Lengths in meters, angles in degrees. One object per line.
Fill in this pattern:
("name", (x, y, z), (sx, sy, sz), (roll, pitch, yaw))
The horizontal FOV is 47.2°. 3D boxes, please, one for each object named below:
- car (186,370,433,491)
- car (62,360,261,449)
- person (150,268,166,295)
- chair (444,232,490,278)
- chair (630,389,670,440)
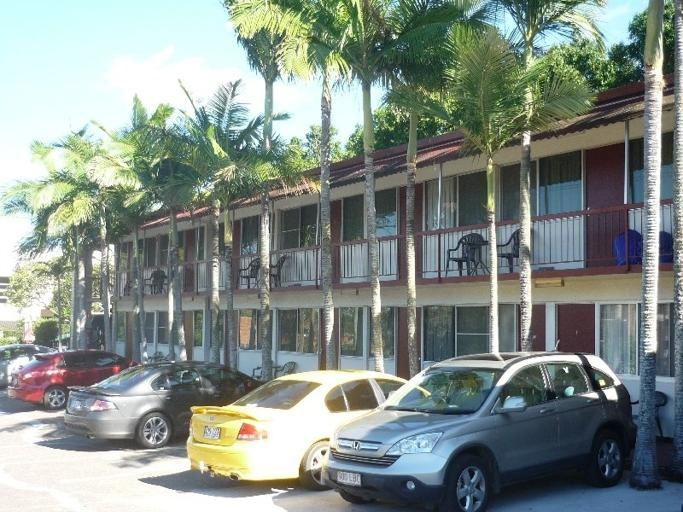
("car", (-1.065, 2.983, 13.783), (3.992, 1.340, 1.817), (0, -3, -43))
("car", (-4.096, 3.098, 17.777), (3.846, 1.279, 1.743), (0, -2, -40))
("person", (-7.746, 1.046, 33.222), (0.972, 1.064, 0.270), (-10, -12, 43))
("chair", (3.220, -0.026, 20.267), (0.975, 1.483, 1.001), (-2, -5, 38))
("chair", (6.197, 3.170, 15.538), (0.743, 0.988, 3.626), (-4, -11, 20))
